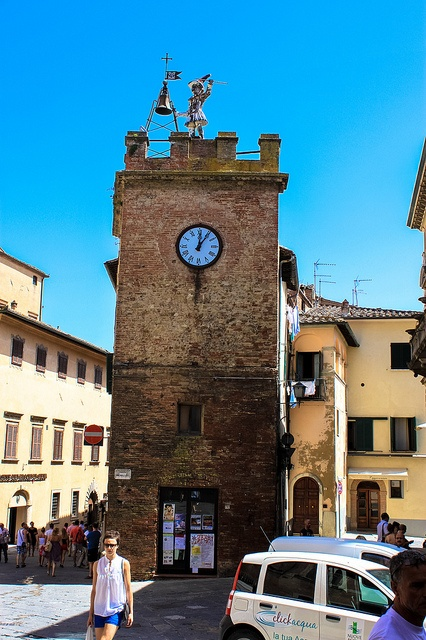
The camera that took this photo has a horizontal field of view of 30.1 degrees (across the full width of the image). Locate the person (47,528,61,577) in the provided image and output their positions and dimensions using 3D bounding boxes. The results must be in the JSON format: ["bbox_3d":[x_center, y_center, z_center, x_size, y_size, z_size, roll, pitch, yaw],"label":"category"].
[{"bbox_3d":[-3.891,5.703,19.420,0.371,1.180,0.379,0,-23,7],"label":"person"}]

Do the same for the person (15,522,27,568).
[{"bbox_3d":[-5.376,6.445,22.424,0.262,1.040,2.029,3,-15,-13],"label":"person"}]

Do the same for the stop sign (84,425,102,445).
[{"bbox_3d":[-2.492,2.388,16.586,0.359,0.467,0.928,2,-15,-9],"label":"stop sign"}]

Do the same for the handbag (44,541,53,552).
[{"bbox_3d":[-3.997,5.634,19.372,0.158,0.396,0.388,-2,-10,-22],"label":"handbag"}]

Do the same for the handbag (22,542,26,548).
[{"bbox_3d":[-5.126,6.147,21.620,0.079,0.159,0.088,0,-29,-3],"label":"handbag"}]

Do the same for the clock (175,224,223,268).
[{"bbox_3d":[-0.290,-1.680,18.113,0.921,1.013,0.140,1,-7,1],"label":"clock"}]
